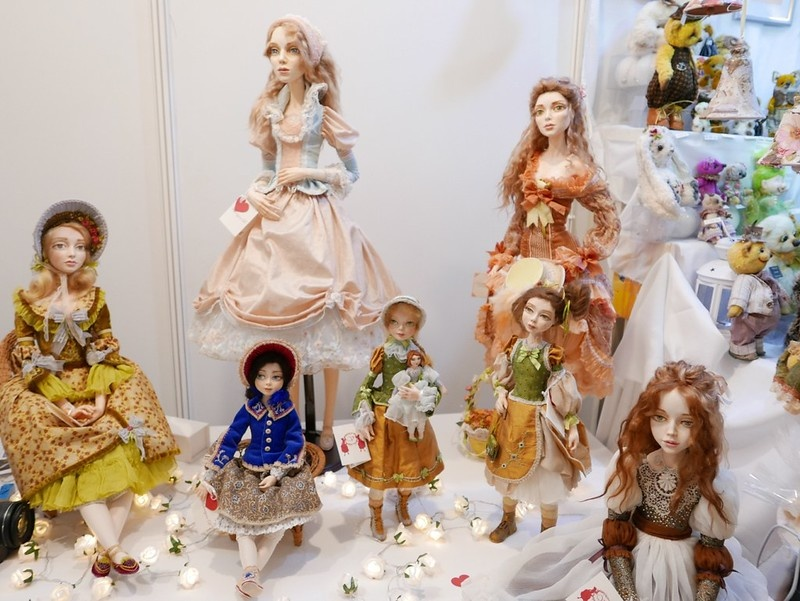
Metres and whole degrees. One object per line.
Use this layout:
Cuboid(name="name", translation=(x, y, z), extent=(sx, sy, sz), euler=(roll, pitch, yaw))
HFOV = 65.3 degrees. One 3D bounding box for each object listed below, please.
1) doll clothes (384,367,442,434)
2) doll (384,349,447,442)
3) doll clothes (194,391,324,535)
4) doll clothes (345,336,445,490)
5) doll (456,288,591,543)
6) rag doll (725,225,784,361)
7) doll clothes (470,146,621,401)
Cuboid(name="doll clothes", translation=(0.104, 0.630, 3.516), extent=(0.203, 0.116, 0.265), euler=(3, 13, -31))
Cuboid(name="doll", translation=(0.125, 0.529, 3.573), extent=(0.346, 0.506, 0.227), euler=(0, 15, 33))
Cuboid(name="doll clothes", translation=(-0.764, 0.806, 3.459), extent=(0.596, 0.819, 0.518), euler=(4, 2, -34))
Cuboid(name="doll clothes", translation=(0.001, 0.664, 3.672), extent=(0.588, 0.811, 0.473), euler=(-6, 12, 4))
Cuboid(name="doll", translation=(0.783, 0.647, 3.550), extent=(0.588, 1.464, 0.531), euler=(8, 9, 25))
Cuboid(name="rag doll", translation=(2.064, 0.013, 3.620), extent=(0.323, 0.691, 0.262), euler=(5, 15, 29))
Cuboid(name="doll clothes", translation=(1.019, -0.149, 4.198), extent=(0.981, 1.709, 0.710), euler=(7, 15, 41))
